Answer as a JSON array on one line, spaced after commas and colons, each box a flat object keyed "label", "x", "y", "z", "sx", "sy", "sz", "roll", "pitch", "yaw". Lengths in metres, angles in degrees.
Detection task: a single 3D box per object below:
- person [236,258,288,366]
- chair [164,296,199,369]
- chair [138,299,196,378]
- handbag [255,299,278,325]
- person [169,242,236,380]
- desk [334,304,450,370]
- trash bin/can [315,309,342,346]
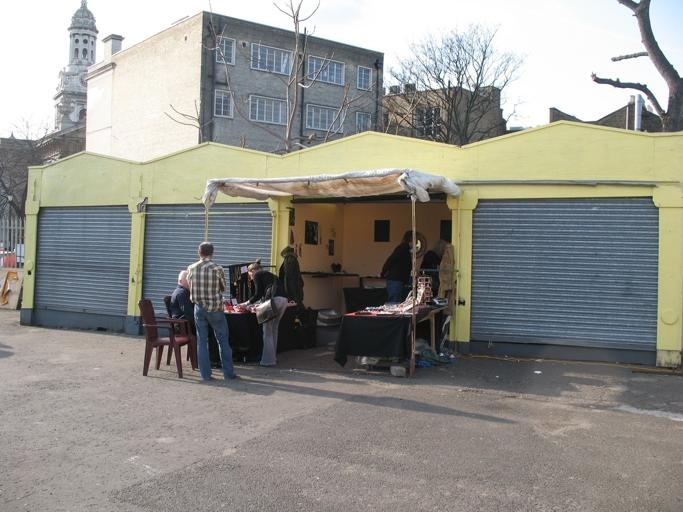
[{"label": "person", "x": -1.423, "y": 1.074, "z": 10.555, "sx": 0.715, "sy": 1.887, "sz": 0.585, "roll": 3, "pitch": 5, "yaw": 38}, {"label": "chair", "x": -2.811, "y": 1.465, "z": 10.227, "sx": 0.404, "sy": 0.664, "sz": 0.416, "roll": 10, "pitch": -13, "yaw": 3}, {"label": "chair", "x": -2.891, "y": 1.359, "z": 9.676, "sx": 0.921, "sy": 1.144, "sz": 0.972, "roll": 0, "pitch": 0, "yaw": 28}, {"label": "handbag", "x": -1.327, "y": 1.015, "z": 10.330, "sx": 0.411, "sy": 0.398, "sz": 0.166, "roll": -11, "pitch": -8, "yaw": 27}, {"label": "person", "x": -2.105, "y": 0.907, "z": 9.274, "sx": 0.771, "sy": 2.212, "sz": 0.355, "roll": 0, "pitch": 4, "yaw": -11}, {"label": "desk", "x": 0.471, "y": 1.397, "z": 10.329, "sx": 1.346, "sy": 0.813, "sz": 1.620, "roll": 3, "pitch": 2, "yaw": -6}, {"label": "trash bin/can", "x": -0.289, "y": 1.712, "z": 13.532, "sx": 0.600, "sy": 0.734, "sz": 1.033, "roll": -1, "pitch": -2, "yaw": 20}]
